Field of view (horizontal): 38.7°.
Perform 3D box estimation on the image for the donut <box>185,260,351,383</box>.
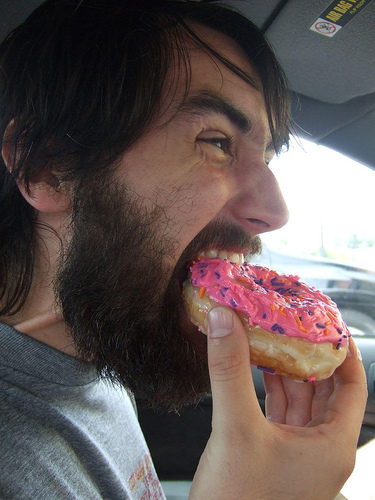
[{"bbox_3d":[0.256,0.193,1.829,0.571,0.194,0.531,28,22,30],"label":"donut"}]
